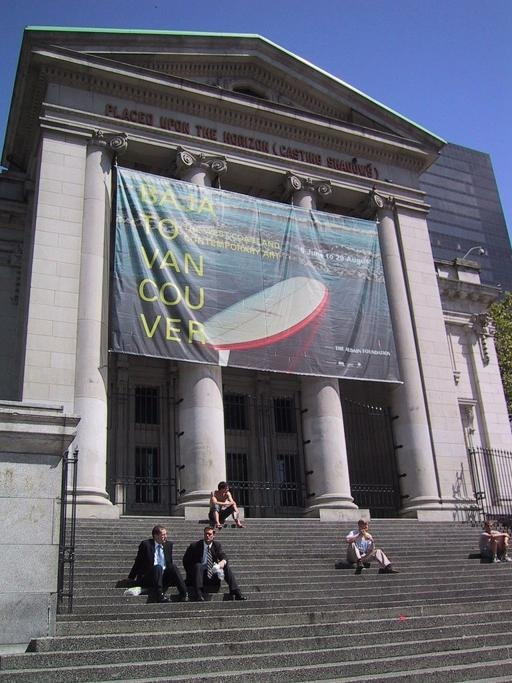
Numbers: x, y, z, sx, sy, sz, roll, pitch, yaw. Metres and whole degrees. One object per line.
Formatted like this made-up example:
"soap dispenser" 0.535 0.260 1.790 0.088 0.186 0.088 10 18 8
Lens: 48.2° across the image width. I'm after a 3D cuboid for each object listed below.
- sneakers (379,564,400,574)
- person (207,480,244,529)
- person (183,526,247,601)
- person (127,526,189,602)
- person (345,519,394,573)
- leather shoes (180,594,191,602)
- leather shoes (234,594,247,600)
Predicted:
"sneakers" 2.389 4.081 10.266 0.376 0.148 0.122 -1 -4 9
"person" -0.685 3.471 12.104 0.595 0.957 0.874 -7 -16 13
"person" -0.676 3.147 8.188 0.675 0.973 1.012 18 -28 -34
"person" -1.324 3.050 7.877 0.625 0.955 0.795 8 -20 -35
"person" 2.089 3.943 10.616 0.715 1.050 1.045 14 -45 -8
"leather shoes" -0.958 3.443 7.707 0.138 0.101 0.247 -2 -15 -4
"leather shoes" -0.223 3.510 7.868 0.227 0.079 0.111 -11 -18 27
